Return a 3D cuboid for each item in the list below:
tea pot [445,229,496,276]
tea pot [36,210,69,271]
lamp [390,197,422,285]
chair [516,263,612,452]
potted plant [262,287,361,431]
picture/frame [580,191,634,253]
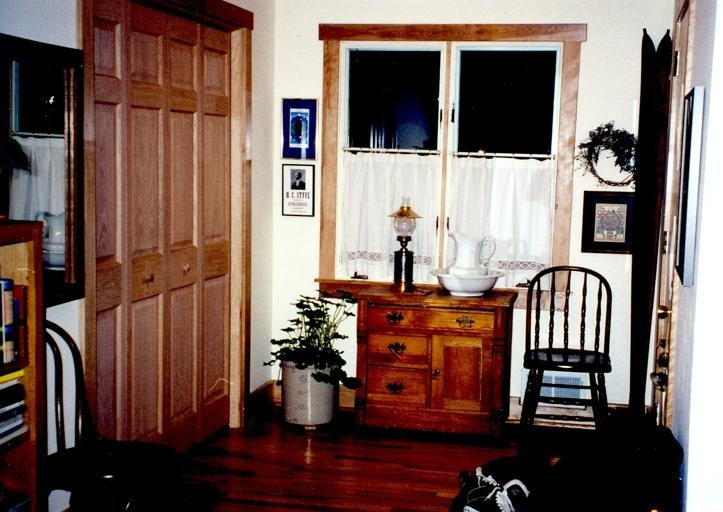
[{"bbox_3d":[0.776,-0.028,4.659,0.327,0.275,0.383,4,13,11],"label":"tea pot"},{"bbox_3d":[-1.371,-0.073,2.996,0.165,0.236,0.156,-2,7,0],"label":"tea pot"},{"bbox_3d":[0.301,-0.084,4.738,0.213,0.643,0.360,2,12,4],"label":"lamp"},{"bbox_3d":[1.387,0.708,4.498,0.554,1.252,0.538,1,3,12],"label":"chair"},{"bbox_3d":[-0.368,0.753,4.703,0.579,0.821,0.471,2,-14,-1],"label":"potted plant"},{"bbox_3d":[1.742,-0.256,4.656,0.395,0.548,0.038,1,4,7],"label":"picture/frame"}]
